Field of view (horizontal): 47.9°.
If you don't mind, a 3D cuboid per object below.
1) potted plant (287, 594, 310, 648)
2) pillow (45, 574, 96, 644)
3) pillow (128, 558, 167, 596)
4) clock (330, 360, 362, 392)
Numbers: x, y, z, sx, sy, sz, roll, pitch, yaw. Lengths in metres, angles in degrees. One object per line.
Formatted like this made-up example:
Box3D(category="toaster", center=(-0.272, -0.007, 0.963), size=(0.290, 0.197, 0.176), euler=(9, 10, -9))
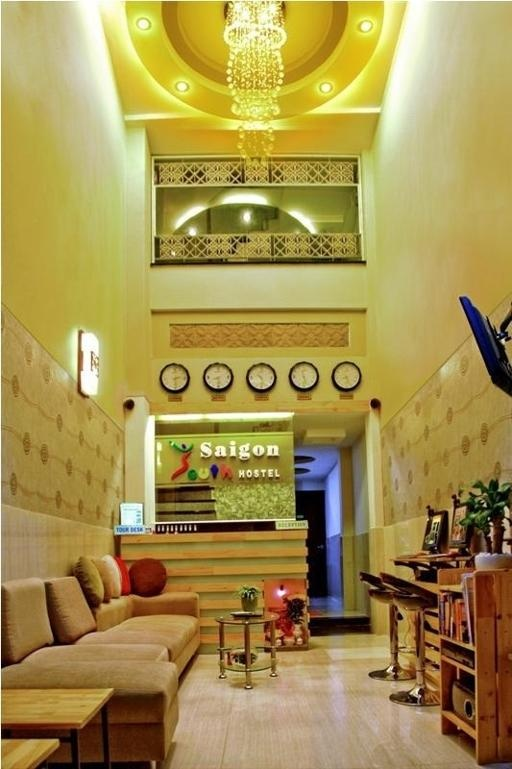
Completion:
Box3D(category="potted plant", center=(0.494, 2.693, 6.580), size=(0.192, 0.540, 0.406), euler=(-9, -13, 43))
Box3D(category="pillow", center=(-1.228, 1.459, 3.744), size=(0.116, 0.461, 0.422), euler=(-13, -4, 0))
Box3D(category="pillow", center=(-1.201, 2.115, 6.402), size=(0.327, 0.454, 0.345), euler=(7, -8, -31))
Box3D(category="clock", center=(1.381, -0.108, 8.874), size=(0.378, 0.522, 0.067), euler=(2, -21, 3))
